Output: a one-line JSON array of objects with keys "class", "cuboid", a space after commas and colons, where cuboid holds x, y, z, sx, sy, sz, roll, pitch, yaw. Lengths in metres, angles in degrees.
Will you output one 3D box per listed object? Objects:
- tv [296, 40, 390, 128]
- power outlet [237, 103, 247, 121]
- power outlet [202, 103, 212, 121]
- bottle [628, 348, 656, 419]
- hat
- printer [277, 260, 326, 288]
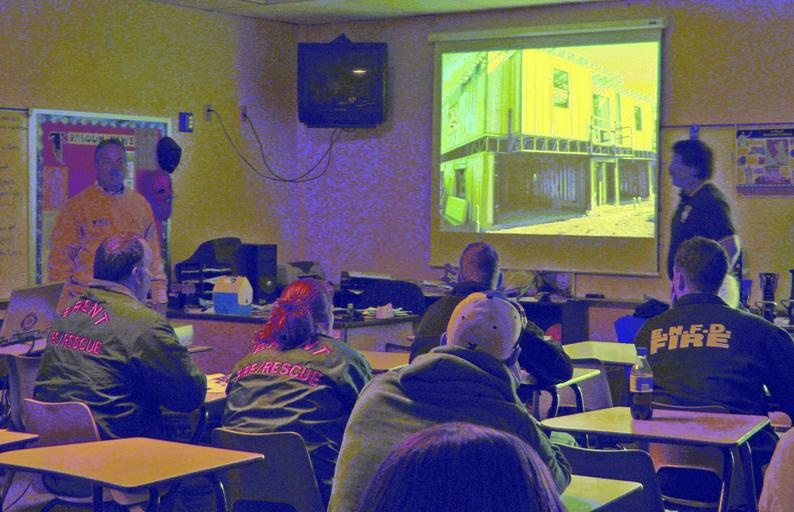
[{"class": "tv", "cuboid": [-0.630, -1.986, 7.185, 1.217, 1.025, 0.638, 1, 9, 5]}, {"class": "power outlet", "cuboid": [-1.776, -1.663, 7.233, 0.099, 0.188, 0.009, -1, 2, -40]}, {"class": "power outlet", "cuboid": [-2.102, -1.601, 6.948, 0.021, 0.176, 0.114, 2, 2, 41]}, {"class": "bottle", "cuboid": [1.179, 0.597, 2.986, 0.101, 0.284, 0.359, 1, 1, 23]}, {"class": "hat", "cuboid": [0.319, 0.257, 2.339, 0.313, 0.263, 0.341, 0, 5, 17]}, {"class": "printer", "cuboid": [-0.969, 0.171, 6.220, 0.366, 0.152, 0.513, -1, -2, 19]}]
